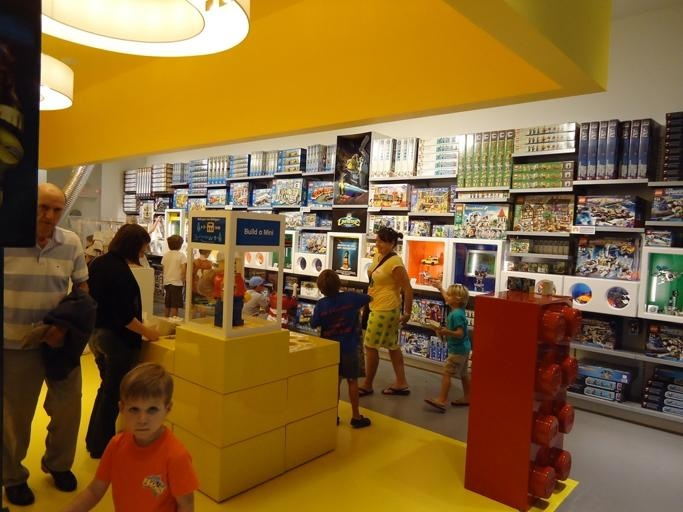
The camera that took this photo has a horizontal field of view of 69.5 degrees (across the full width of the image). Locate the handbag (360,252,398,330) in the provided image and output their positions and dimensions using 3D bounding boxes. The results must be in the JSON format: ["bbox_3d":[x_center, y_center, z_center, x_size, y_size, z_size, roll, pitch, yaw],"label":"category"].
[{"bbox_3d":[0.350,0.371,5.340,0.659,0.710,0.169,12,16,31],"label":"handbag"}]

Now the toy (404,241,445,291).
[{"bbox_3d":[1.101,0.146,6.522,0.329,0.642,0.607,3,-2,-41],"label":"toy"}]

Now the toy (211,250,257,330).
[{"bbox_3d":[-0.804,0.255,3.566,0.228,0.514,0.223,1,7,-15],"label":"toy"}]

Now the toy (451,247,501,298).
[{"bbox_3d":[1.749,0.188,6.510,0.341,0.772,0.727,3,-4,-35],"label":"toy"}]

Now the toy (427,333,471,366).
[{"bbox_3d":[1.441,1.238,6.686,0.301,0.596,0.565,5,-3,-42],"label":"toy"}]

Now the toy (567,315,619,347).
[{"bbox_3d":[2.859,0.855,5.522,0.410,0.323,0.145,8,8,32],"label":"toy"}]

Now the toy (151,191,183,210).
[{"bbox_3d":[-3.920,-1.255,11.188,0.475,0.496,0.264,0,-2,29],"label":"toy"}]

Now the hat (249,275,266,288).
[{"bbox_3d":[-1.021,0.332,6.041,0.132,0.106,0.183,14,29,40],"label":"hat"}]

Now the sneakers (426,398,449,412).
[{"bbox_3d":[0.994,1.548,5.153,0.227,0.125,0.206,5,8,11],"label":"sneakers"}]

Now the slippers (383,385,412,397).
[{"bbox_3d":[0.623,1.517,5.487,0.284,0.083,0.117,2,-1,-5],"label":"slippers"}]

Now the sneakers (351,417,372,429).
[{"bbox_3d":[0.192,1.567,4.652,0.156,0.076,0.093,-3,5,-41],"label":"sneakers"}]

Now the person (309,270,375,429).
[{"bbox_3d":[0.012,0.867,4.650,0.563,1.467,0.501,-2,8,-35],"label":"person"}]

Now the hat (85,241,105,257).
[{"bbox_3d":[-3.216,-0.084,6.462,0.255,0.209,0.175,-4,-9,37],"label":"hat"}]

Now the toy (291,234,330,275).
[{"bbox_3d":[-0.476,-0.025,7.981,0.622,0.660,0.213,4,11,32],"label":"toy"}]

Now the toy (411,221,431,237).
[{"bbox_3d":[1.090,-0.357,6.703,0.190,0.180,0.063,-2,-9,40],"label":"toy"}]

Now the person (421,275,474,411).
[{"bbox_3d":[1.157,0.969,5.193,0.433,1.304,0.691,5,7,15],"label":"person"}]

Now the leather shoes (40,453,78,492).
[{"bbox_3d":[-2.011,1.588,3.537,0.339,0.156,0.141,22,12,28],"label":"leather shoes"}]

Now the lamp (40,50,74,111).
[{"bbox_3d":[-2.208,-1.375,3.839,0.209,0.378,0.594,-1,9,-31],"label":"lamp"}]

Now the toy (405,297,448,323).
[{"bbox_3d":[1.169,0.756,6.673,0.485,0.511,0.281,5,4,39],"label":"toy"}]
